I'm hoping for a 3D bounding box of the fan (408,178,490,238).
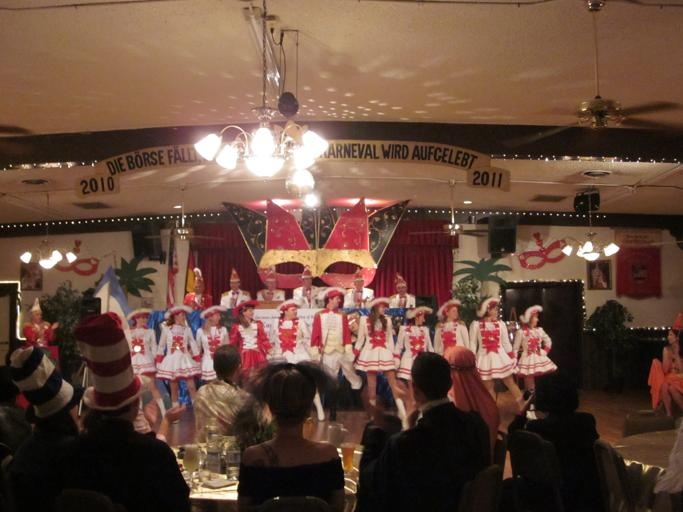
[{"bbox_3d":[2.372,-0.761,13.289,1.085,0.748,1.123,2,-12,-4],"label":"fan"}]

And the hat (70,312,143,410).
[{"bbox_3d":[-1.562,0.704,4.477,0.409,0.644,0.270,-1,1,-15],"label":"hat"}]

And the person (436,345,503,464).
[{"bbox_3d":[1.044,1.171,5.051,0.307,0.981,0.426,-14,2,-45],"label":"person"}]

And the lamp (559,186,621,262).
[{"bbox_3d":[4.789,-0.585,12.696,1.077,1.589,0.957,1,-8,1],"label":"lamp"}]

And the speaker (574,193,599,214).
[{"bbox_3d":[4.226,-0.907,11.478,0.163,0.300,0.320,4,-1,-28],"label":"speaker"}]

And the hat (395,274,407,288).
[{"bbox_3d":[1.090,0.486,12.301,0.229,0.273,0.264,0,-12,3],"label":"hat"}]

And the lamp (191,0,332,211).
[{"bbox_3d":[-0.810,-1.624,7.659,1.633,2.487,1.642,4,5,25],"label":"lamp"}]

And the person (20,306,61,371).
[{"bbox_3d":[-5.214,1.369,11.541,0.616,1.109,0.606,1,5,-13],"label":"person"}]

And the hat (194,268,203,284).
[{"bbox_3d":[-2.722,0.391,12.625,0.089,0.291,0.195,-7,-2,-7],"label":"hat"}]

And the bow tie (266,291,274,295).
[{"bbox_3d":[-1.341,0.718,12.668,0.069,0.070,0.066,0,3,-36],"label":"bow tie"}]

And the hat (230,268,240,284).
[{"bbox_3d":[-2.117,0.411,13.246,0.147,0.139,0.251,12,35,-18],"label":"hat"}]
